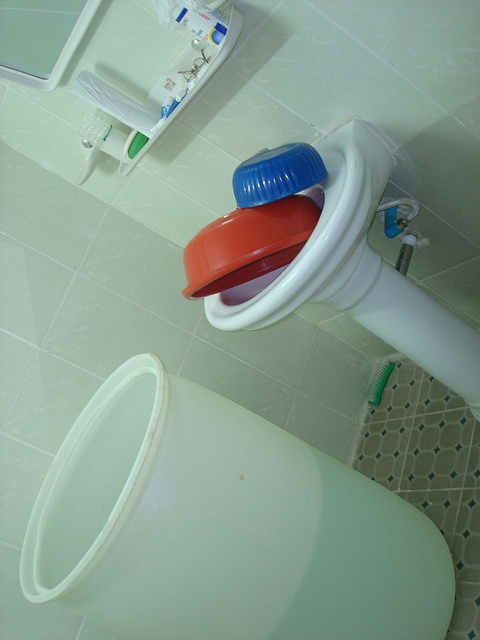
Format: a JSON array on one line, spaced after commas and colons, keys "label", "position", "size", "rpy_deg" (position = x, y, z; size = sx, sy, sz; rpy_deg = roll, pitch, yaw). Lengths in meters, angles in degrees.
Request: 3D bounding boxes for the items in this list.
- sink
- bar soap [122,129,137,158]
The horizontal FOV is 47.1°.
[{"label": "sink", "position": [0.048, -0.115, 0.964], "size": [0.118, 0.231, 0.233], "rpy_deg": [20, 34, 4]}, {"label": "bar soap", "position": [-0.248, -0.397, 1.236], "size": [0.014, 0.043, 0.050], "rpy_deg": [18, 31, 6]}]
